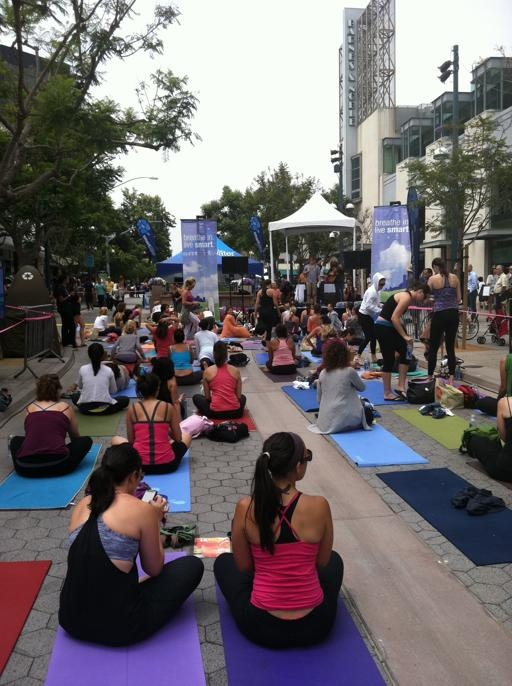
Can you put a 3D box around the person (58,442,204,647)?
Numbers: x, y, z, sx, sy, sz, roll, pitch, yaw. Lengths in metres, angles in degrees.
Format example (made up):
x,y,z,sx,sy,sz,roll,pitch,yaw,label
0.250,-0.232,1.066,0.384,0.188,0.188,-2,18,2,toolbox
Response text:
x,y,z,sx,sy,sz,roll,pitch,yaw,label
-0.554,0.964,2.102,0.611,1.011,0.464,-1,2,-33,person

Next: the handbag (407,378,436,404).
x,y,z,sx,sy,sz,roll,pitch,yaw,label
2.705,0.806,7.475,0.470,0.473,0.345,1,-1,4,handbag

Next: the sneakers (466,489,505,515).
x,y,z,sx,sy,sz,roll,pitch,yaw,label
1.924,1.365,3.834,0.282,0.100,0.419,1,2,37,sneakers

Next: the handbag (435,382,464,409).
x,y,z,sx,sy,sz,roll,pitch,yaw,label
3.071,0.834,7.294,0.424,0.432,0.281,11,11,38,handbag

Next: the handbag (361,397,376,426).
x,y,z,sx,sy,sz,roll,pitch,yaw,label
1.637,1.001,6.590,0.254,0.353,0.355,0,-4,-13,handbag

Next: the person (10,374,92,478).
x,y,z,sx,sy,sz,roll,pitch,yaw,label
-2.052,0.845,4.621,0.691,1.045,0.323,-1,2,-28,person

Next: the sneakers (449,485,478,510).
x,y,z,sx,sy,sz,roll,pitch,yaw,label
1.799,1.346,3.967,0.118,0.067,0.251,4,17,45,sneakers

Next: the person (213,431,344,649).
x,y,z,sx,sy,sz,roll,pitch,yaw,label
0.119,0.905,2.076,0.540,1.058,0.543,0,2,0,person

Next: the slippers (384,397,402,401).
x,y,z,sx,sy,sz,roll,pitch,yaw,label
2.336,0.955,7.752,0.200,0.074,0.107,-3,1,15,slippers

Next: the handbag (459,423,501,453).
x,y,z,sx,sy,sz,roll,pitch,yaw,label
2.364,1.028,4.844,0.362,0.132,0.307,1,-1,-23,handbag

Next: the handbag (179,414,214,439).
x,y,z,sx,sy,sz,roll,pitch,yaw,label
-0.812,1.122,6.165,0.369,0.269,0.131,-16,-2,-38,handbag
